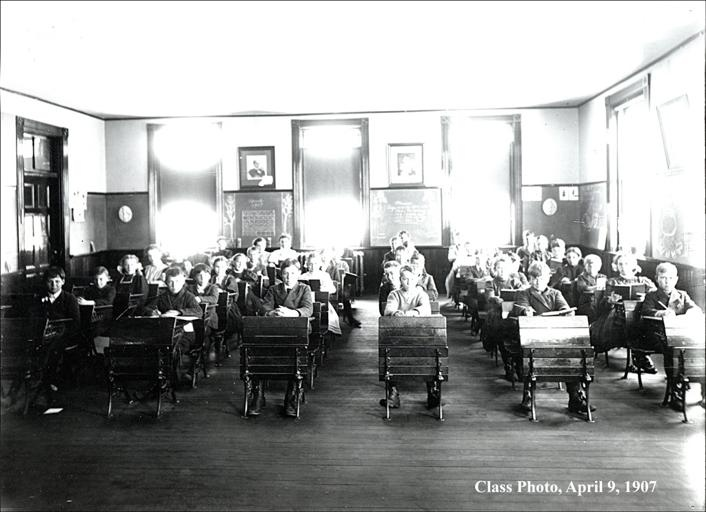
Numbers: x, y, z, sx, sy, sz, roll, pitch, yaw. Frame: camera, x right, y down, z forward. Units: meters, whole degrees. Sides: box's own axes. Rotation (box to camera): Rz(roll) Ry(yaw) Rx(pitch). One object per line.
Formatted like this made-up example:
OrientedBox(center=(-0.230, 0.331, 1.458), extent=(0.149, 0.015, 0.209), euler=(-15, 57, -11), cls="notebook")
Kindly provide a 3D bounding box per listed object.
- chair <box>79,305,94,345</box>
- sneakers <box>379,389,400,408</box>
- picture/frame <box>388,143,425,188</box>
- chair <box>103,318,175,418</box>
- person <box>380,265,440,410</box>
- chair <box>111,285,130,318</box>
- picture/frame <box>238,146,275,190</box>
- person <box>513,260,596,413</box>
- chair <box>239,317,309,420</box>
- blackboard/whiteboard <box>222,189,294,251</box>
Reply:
OrientedBox(center=(-3.216, 0.844, 6.963), extent=(0.147, 0.484, 0.168), euler=(-4, 8, -22), cls="chair")
OrientedBox(center=(0.430, 1.542, 6.255), extent=(0.115, 0.242, 0.339), euler=(2, 1, -8), cls="sneakers")
OrientedBox(center=(1.352, -2.245, 14.185), extent=(0.987, 1.235, 0.087), euler=(0, -1, -1), cls="picture/frame")
OrientedBox(center=(-2.351, 1.153, 6.351), extent=(0.643, 0.971, 0.699), euler=(1, 4, -12), cls="chair")
OrientedBox(center=(0.637, 0.873, 6.476), extent=(0.598, 1.453, 1.177), euler=(0, 8, 3), cls="person")
OrientedBox(center=(-3.086, 0.649, 7.684), extent=(0.219, 0.288, 0.511), euler=(-3, 8, -21), cls="chair")
OrientedBox(center=(-2.367, -2.207, 14.379), extent=(0.984, 1.174, 0.090), euler=(0, 5, 3), cls="picture/frame")
OrientedBox(center=(2.289, 0.827, 6.747), extent=(0.879, 1.435, 1.584), euler=(2, 8, 15), cls="person")
OrientedBox(center=(-0.852, 1.159, 6.177), extent=(0.733, 1.025, 0.509), euler=(-1, 8, -6), cls="chair")
OrientedBox(center=(-2.278, -0.952, 14.092), extent=(1.457, 1.380, 0.162), euler=(1, 7, 3), cls="blackboard/whiteboard")
